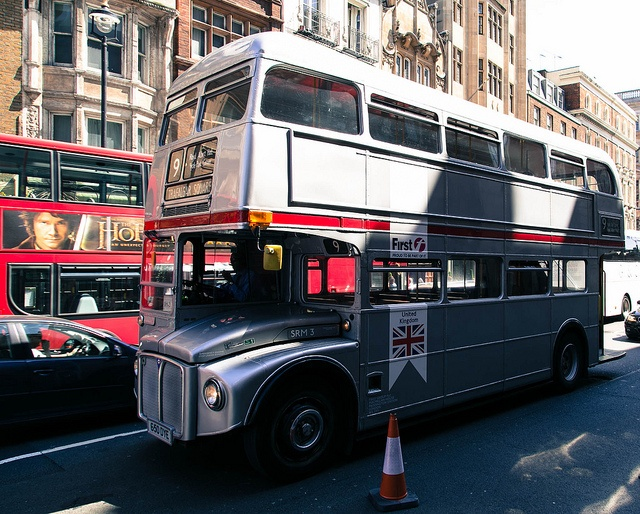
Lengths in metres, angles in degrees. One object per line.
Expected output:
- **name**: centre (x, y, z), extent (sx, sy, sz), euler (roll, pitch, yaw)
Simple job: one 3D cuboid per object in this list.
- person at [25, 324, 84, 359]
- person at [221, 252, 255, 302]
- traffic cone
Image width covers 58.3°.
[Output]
- **person**: centre (-4.208, 1.325, 8.917), extent (0.392, 0.286, 0.713), euler (3, -13, 17)
- **person**: centre (-1.255, 0.376, 8.477), extent (0.425, 0.915, 0.434), euler (0, 11, -29)
- **traffic cone**: centre (0.856, 2.372, 6.654), extent (0.593, 1.075, 0.329), euler (0, 4, 3)
